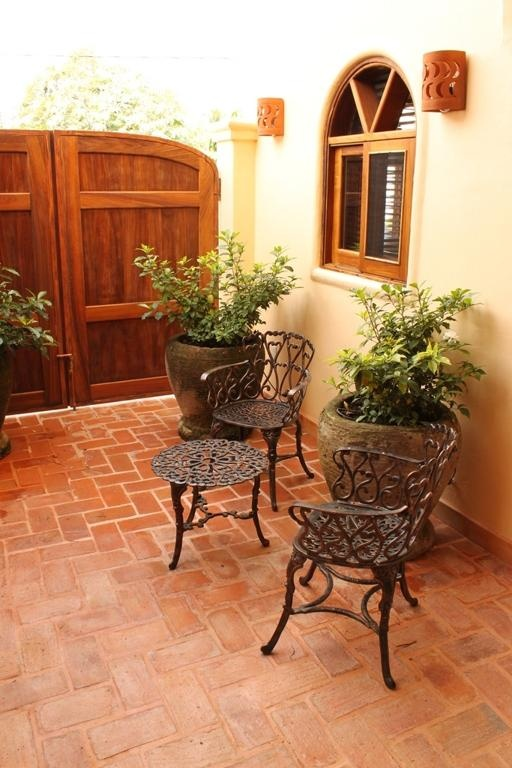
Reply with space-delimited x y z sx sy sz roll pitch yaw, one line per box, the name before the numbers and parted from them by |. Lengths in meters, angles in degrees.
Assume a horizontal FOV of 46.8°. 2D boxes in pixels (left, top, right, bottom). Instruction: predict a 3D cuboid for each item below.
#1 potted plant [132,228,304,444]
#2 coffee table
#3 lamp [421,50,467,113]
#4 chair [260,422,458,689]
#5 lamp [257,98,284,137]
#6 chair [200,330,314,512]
potted plant | -0.210 -0.315 4.309 0.992 1.514 1.325 0 14 -28
coffee table | -0.204 0.517 2.813 0.579 0.468 0.585 2 32 -2
lamp | 0.816 -1.327 2.657 0.241 0.262 0.243 0 9 4
chair | 0.376 0.556 2.147 0.553 0.783 0.574 3 16 9
lamp | 0.111 -1.988 4.383 0.240 0.257 0.239 -15 28 -34
chair | 0.012 0.190 3.627 0.611 0.879 0.625 7 20 21
